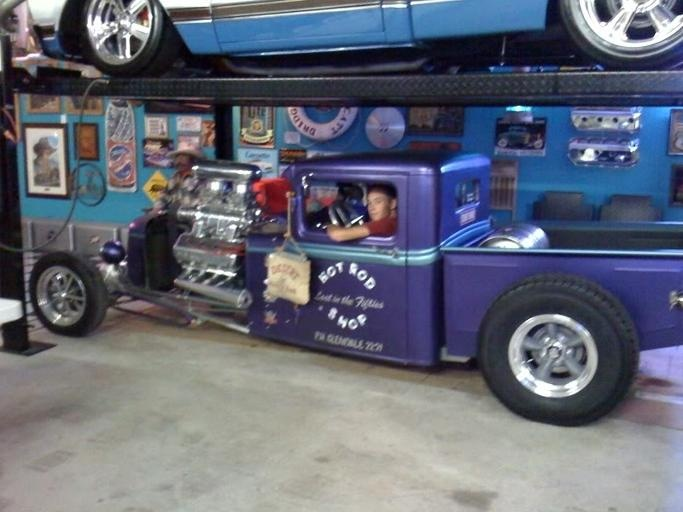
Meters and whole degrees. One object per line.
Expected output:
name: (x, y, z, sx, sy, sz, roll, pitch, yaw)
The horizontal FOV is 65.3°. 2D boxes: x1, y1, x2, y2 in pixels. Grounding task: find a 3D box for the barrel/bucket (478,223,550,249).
barrel/bucket: (1.142, -0.106, 3.537, 0.297, 0.153, 0.571, 12, 19, 38)
